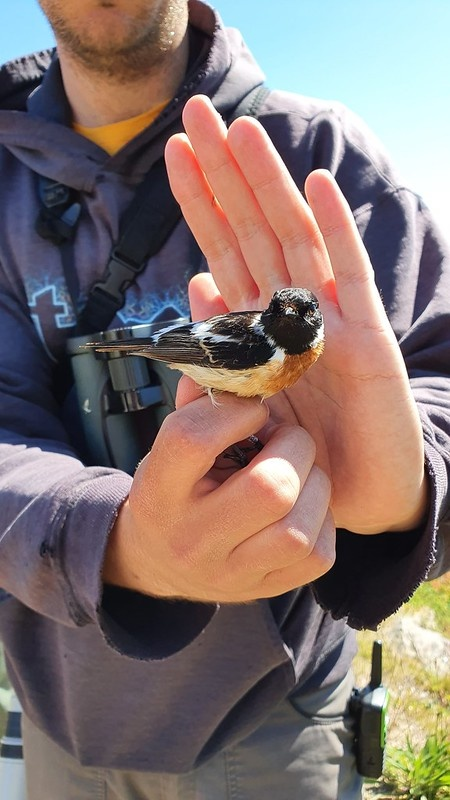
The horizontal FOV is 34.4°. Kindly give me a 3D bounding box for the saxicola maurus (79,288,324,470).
[{"bbox_3d":[0.093,-0.219,2.891,1.100,0.655,0.368,28,0,11],"label":"saxicola maurus"}]
